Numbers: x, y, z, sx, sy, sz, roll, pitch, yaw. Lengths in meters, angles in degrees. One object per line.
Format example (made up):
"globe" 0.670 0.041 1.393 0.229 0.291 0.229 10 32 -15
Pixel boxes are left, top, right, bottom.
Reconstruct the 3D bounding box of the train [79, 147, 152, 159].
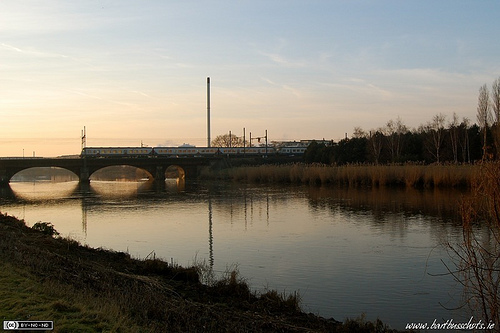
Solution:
"train" -22.841 -2.357 98.376 15.334 2.565 3.093 0 0 -5
